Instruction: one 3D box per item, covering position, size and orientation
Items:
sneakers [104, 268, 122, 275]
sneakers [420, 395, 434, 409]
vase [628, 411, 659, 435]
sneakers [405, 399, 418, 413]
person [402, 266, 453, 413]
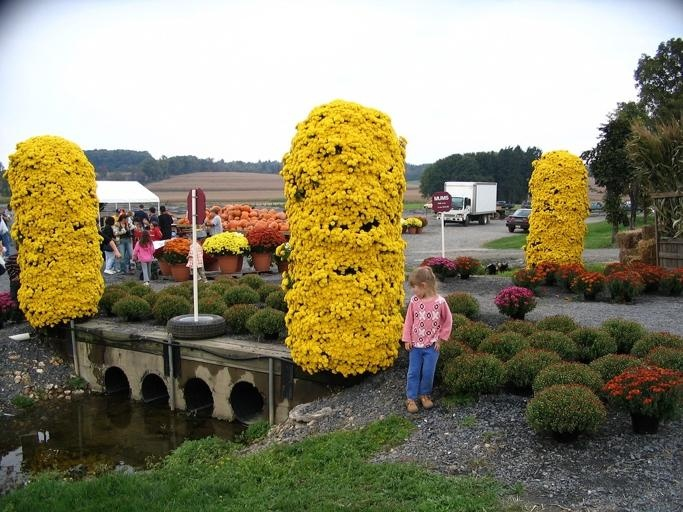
[{"bbox_3d":[-7.487,0.568,19.180,0.540,0.237,0.201,0,7,11],"label":"sneakers"},{"bbox_3d":[1.145,2.033,8.065,0.118,0.130,0.321,-1,-11,1],"label":"sneakers"},{"bbox_3d":[3.606,1.991,7.101,0.323,0.261,0.276,0,-9,1],"label":"vase"},{"bbox_3d":[0.963,2.068,8.044,0.157,0.161,0.176,-6,13,3],"label":"sneakers"},{"bbox_3d":[1.097,1.151,8.054,0.762,1.890,0.467,-13,15,-27],"label":"person"}]
